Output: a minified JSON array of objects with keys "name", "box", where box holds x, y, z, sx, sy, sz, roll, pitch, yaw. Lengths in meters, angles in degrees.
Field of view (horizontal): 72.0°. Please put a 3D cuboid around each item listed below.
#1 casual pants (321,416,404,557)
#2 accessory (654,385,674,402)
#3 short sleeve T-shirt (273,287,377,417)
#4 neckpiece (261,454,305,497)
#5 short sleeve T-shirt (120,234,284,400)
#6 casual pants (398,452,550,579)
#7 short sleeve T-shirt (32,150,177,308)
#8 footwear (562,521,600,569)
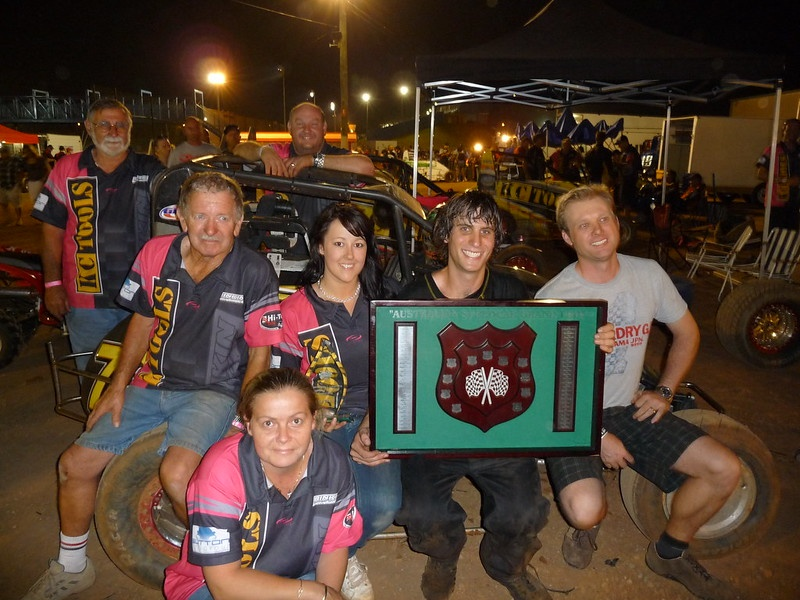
[{"name":"casual pants","box":[-0.232,1.264,3.703,0.641,0.725,0.261,10,-14,-25]},{"name":"accessory","box":[1.833,0.640,3.818,0.107,0.113,0.030,21,-34,-17]},{"name":"short sleeve T-shirt","box":[-0.488,0.327,3.554,0.691,0.774,0.400,-2,10,-23]},{"name":"neckpiece","box":[-0.621,0.981,3.022,0.162,0.243,0.068,3,47,-15]},{"name":"short sleeve T-shirt","box":[-1.376,0.121,3.826,1.049,1.104,0.601,11,11,5]},{"name":"casual pants","box":[0.381,1.548,3.710,1.172,1.317,0.524,9,55,-4]},{"name":"short sleeve T-shirt","box":[-2.427,-0.590,4.589,1.290,1.573,0.528,5,11,-8]},{"name":"footwear","box":[1.321,1.741,4.035,0.214,0.135,0.371,-26,7,43]}]
